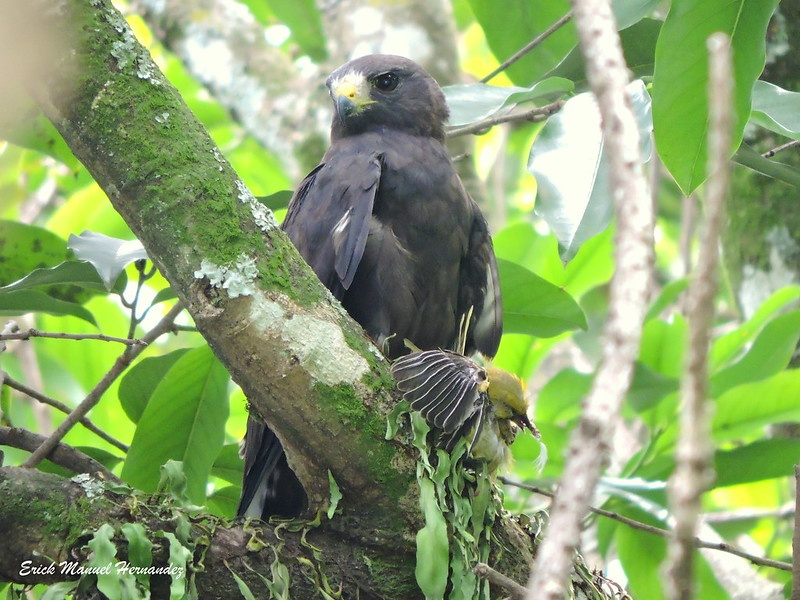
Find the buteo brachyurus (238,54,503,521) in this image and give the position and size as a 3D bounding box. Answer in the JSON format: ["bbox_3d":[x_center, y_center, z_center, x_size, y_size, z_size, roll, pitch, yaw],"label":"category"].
[{"bbox_3d":[-0.143,0.033,4.245,0.762,1.859,0.937,-4,8,-22],"label":"buteo brachyurus"}]
